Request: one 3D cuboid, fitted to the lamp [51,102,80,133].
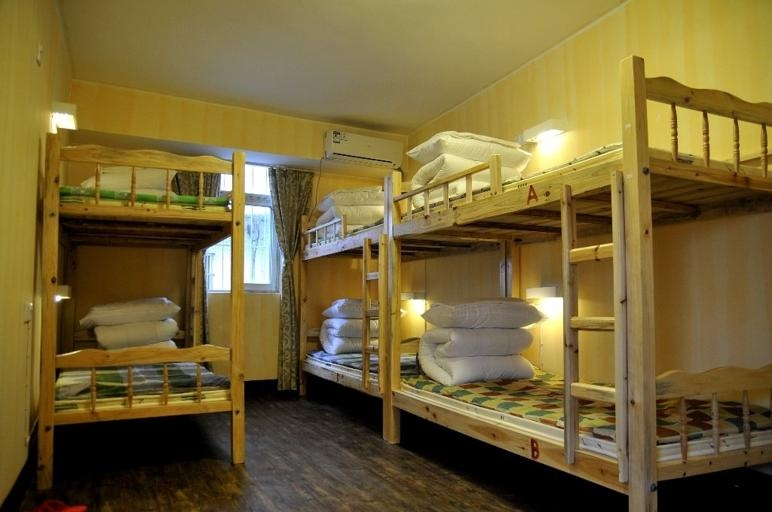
[{"bbox_3d":[-2.613,-1.118,4.690,0.184,0.254,0.326,-1,1,-30],"label":"lamp"}]

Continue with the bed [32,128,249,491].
[{"bbox_3d":[-2.299,0.298,5.458,1.755,2.724,2.623,-1,1,-17],"label":"bed"}]
